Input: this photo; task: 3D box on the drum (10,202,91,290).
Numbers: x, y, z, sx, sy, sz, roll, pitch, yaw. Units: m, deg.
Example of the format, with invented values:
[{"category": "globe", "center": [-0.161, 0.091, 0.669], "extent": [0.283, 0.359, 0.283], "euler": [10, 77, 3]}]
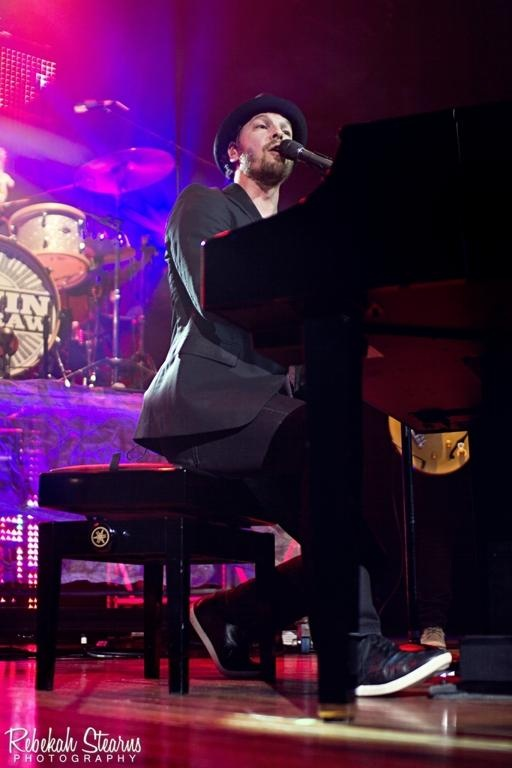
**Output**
[{"category": "drum", "center": [-1.338, -1.035, 5.635], "extent": [0.430, 0.326, 0.430], "euler": [6, 6, -1]}]

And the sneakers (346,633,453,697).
[{"category": "sneakers", "center": [0.276, 0.547, 1.639], "extent": [0.083, 0.112, 0.251], "euler": [6, -30, -43]}]

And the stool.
[{"category": "stool", "center": [-0.213, 0.472, 1.977], "extent": [0.460, 0.497, 0.542], "euler": [-4, -13, 15]}]

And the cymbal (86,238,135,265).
[{"category": "cymbal", "center": [-1.046, -0.922, 5.688], "extent": [0.308, 0.176, 0.035], "euler": [-4, 26, 9]}]

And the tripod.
[{"category": "tripod", "center": [-0.981, -0.491, 5.464], "extent": [0.727, 1.037, 0.788], "euler": [3, -20, 1]}]
